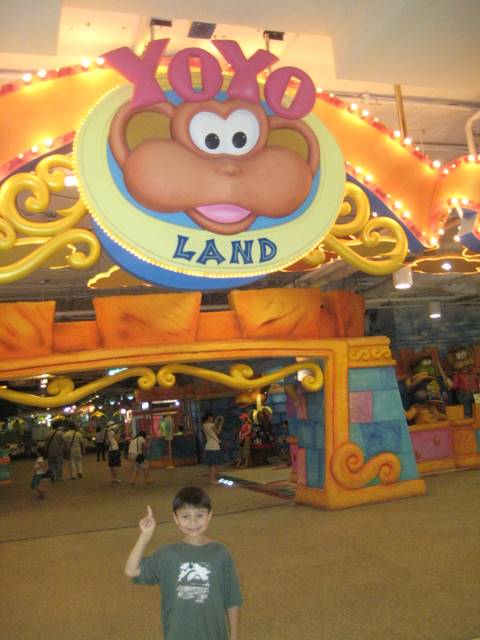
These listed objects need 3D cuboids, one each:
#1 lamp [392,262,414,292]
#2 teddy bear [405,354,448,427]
[{"bbox_3d":[2.481,-0.659,7.306,0.259,0.259,0.606,-5,2,17],"label":"lamp"},{"bbox_3d":[3.424,1.185,8.732,0.710,1.323,0.745,7,-14,-13],"label":"teddy bear"}]
